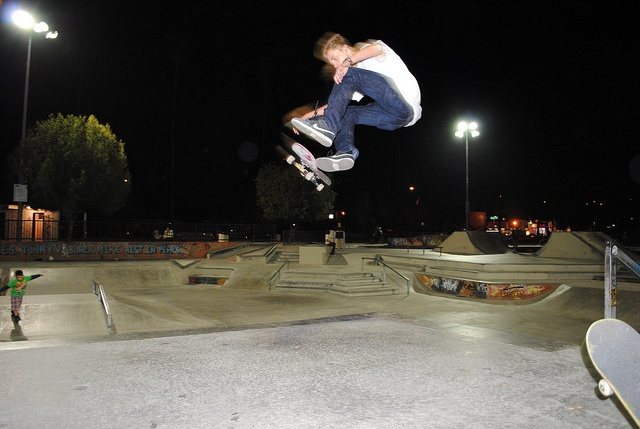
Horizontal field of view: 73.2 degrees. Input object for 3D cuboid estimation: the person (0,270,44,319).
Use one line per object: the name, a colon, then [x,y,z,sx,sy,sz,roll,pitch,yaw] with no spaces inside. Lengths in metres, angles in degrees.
person: [-7.900,2.132,11.294,0.463,1.269,0.732,-2,3,-32]

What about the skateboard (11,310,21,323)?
skateboard: [-7.869,2.653,11.143,0.229,0.289,0.183,-1,2,-18]
